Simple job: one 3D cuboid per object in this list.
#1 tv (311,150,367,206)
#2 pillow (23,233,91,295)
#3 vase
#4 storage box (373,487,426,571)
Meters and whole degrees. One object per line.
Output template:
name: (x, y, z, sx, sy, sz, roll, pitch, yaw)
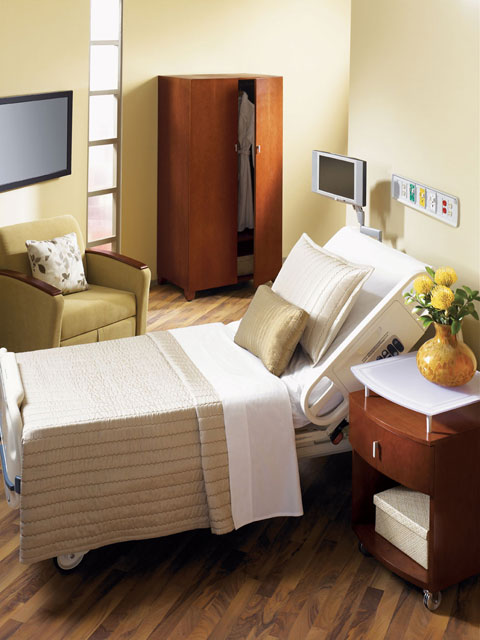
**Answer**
tv: (0.476, -0.684, 2.569, 0.096, 0.291, 0.470, -3, 9, -18)
pillow: (-1.159, -0.348, 3.460, 0.163, 0.390, 0.456, 4, 14, 22)
vase: (0.600, 0.102, 1.640, 0.165, 0.191, 0.188, -4, 17, -2)
storage box: (0.501, 0.625, 1.660, 0.145, 0.111, 0.213, -6, 16, -24)
